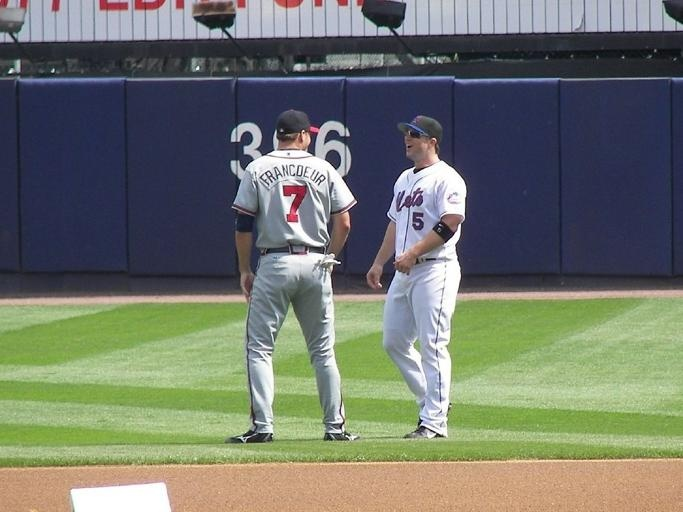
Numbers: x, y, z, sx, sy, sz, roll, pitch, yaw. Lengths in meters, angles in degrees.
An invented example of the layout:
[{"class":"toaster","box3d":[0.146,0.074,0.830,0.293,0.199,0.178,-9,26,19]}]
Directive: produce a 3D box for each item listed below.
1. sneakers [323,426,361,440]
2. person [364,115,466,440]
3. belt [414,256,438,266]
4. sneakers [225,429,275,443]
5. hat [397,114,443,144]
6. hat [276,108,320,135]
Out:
[{"class":"sneakers","box3d":[0.011,1.999,19.821,0.415,0.207,0.153,0,-1,-3]},{"class":"person","box3d":[0.931,0.236,20.031,1.082,3.686,0.610,-4,-8,16]},{"class":"belt","box3d":[0.975,0.040,19.947,0.237,0.079,0.033,-2,-8,0]},{"class":"sneakers","box3d":[-1.029,1.976,19.677,0.498,0.215,0.194,3,-3,-1]},{"class":"hat","box3d":[0.920,-1.503,20.170,0.406,0.228,0.304,17,3,-9]},{"class":"hat","box3d":[-0.499,-1.496,19.942,0.399,0.246,0.282,-11,19,-32]}]
